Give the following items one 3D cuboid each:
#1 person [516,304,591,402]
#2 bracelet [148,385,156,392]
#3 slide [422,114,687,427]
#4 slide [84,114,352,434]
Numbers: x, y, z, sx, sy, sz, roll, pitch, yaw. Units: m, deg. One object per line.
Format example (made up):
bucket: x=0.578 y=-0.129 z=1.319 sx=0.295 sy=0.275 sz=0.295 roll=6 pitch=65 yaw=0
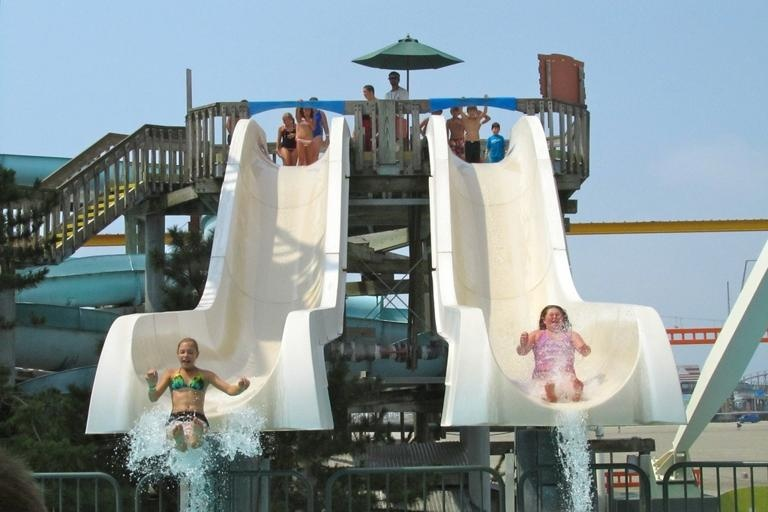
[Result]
person: x=2.652 y=1.462 z=21.094 sx=1.054 sy=1.491 sz=0.469 roll=-2 pitch=-10 yaw=6
bracelet: x=-3.366 y=1.876 z=20.172 sx=0.089 sy=0.140 sz=0.128 roll=1 pitch=-11 yaw=-8
slide: x=2.227 y=-0.047 z=22.685 sx=3.537 sy=5.807 sz=4.728 roll=3 pitch=-11 yaw=-17
slide: x=-2.116 y=0.024 z=22.773 sx=3.535 sy=5.855 sz=4.877 roll=-3 pitch=-11 yaw=15
